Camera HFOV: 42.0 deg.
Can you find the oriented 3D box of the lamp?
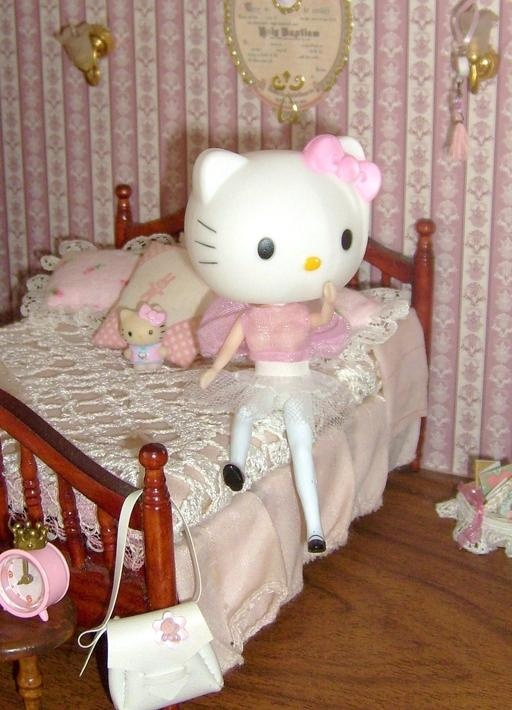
[{"bbox_3d":[-0.833,-1.518,3.356,0.250,0.324,0.099,31,36,2],"label":"lamp"}]

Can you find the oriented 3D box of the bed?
[{"bbox_3d":[-0.265,-0.012,2.278,1.323,0.947,1.679,12,22,27],"label":"bed"}]
